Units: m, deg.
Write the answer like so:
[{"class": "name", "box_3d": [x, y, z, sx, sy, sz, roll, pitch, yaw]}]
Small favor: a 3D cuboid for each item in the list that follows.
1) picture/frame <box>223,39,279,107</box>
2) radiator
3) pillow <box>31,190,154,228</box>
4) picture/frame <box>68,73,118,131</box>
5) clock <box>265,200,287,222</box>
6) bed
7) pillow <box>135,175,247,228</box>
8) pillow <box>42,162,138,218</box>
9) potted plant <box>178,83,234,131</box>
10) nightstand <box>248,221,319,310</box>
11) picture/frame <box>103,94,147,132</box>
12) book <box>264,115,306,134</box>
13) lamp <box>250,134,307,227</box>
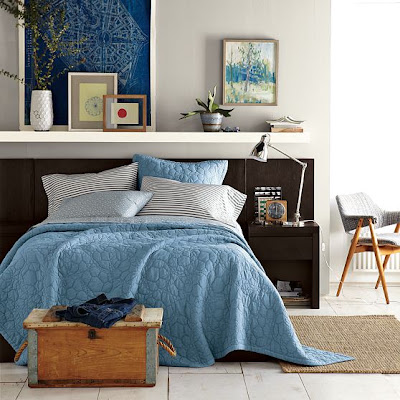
[{"class": "picture/frame", "box_3d": [0.458, -1.158, 3.495, 0.543, 0.663, 0.043, 0, 0, -2]}, {"class": "radiator", "box_3d": [1.602, 0.451, 3.550, 0.465, 0.498, 0.021, 0, 2, 6]}, {"class": "pillow", "box_3d": [-0.785, 0.058, 2.939, 0.545, 0.122, 0.350, -8, 27, 17]}, {"class": "picture/frame", "box_3d": [-0.954, -0.875, 3.449, 0.481, 0.614, 0.041, 1, 7, -2]}, {"class": "clock", "box_3d": [0.647, 0.099, 3.357, 0.165, 0.189, 0.171, 0, -1, 4]}, {"class": "bed", "box_3d": [-0.314, 0.507, 3.162, 1.231, 0.603, 1.220, 0, 27, 1]}, {"class": "pillow", "box_3d": [-0.089, 0.000, 3.036, 0.866, 0.381, 0.609, 1, 0, 8]}, {"class": "pillow", "box_3d": [-0.910, -0.061, 3.186, 0.436, 0.291, 0.116, -12, -34, -8]}, {"class": "potted plant", "box_3d": [0.055, -0.778, 3.492, 0.426, 0.337, 0.508, 5, 11, 39]}, {"class": "nightstand", "box_3d": [0.698, 0.523, 3.292, 0.578, 0.676, 0.490, -3, 6, 9]}, {"class": "picture/frame", "box_3d": [-0.671, -0.757, 3.429, 0.313, 0.293, 0.023, -1, 1, -1]}, {"class": "book", "box_3d": [0.748, -0.653, 3.463, 0.305, 0.104, 0.139, 1, 0, 3]}, {"class": "lamp", "box_3d": [0.667, -0.177, 3.315, 0.462, 0.532, 0.585, 1, 0, 15]}]
